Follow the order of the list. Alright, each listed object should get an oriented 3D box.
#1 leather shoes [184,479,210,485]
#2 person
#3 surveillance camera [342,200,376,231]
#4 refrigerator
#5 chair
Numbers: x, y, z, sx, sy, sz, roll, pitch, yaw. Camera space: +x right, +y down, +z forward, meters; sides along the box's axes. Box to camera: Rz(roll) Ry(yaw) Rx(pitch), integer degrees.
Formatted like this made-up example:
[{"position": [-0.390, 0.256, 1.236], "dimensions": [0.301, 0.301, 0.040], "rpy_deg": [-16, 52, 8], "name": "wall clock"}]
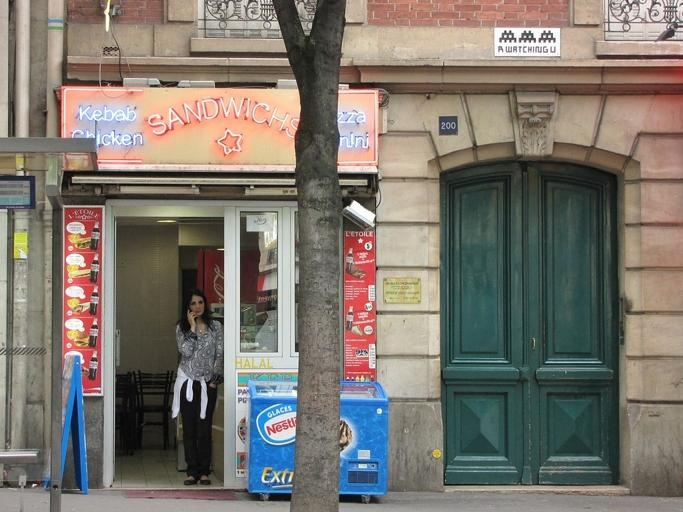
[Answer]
[{"position": [-1.869, 2.861, 15.733], "dimensions": [0.326, 0.095, 0.120], "rpy_deg": [8, -14, -7], "name": "leather shoes"}, {"position": [-1.833, 1.659, 15.797], "dimensions": [0.599, 2.455, 0.291], "rpy_deg": [-1, -7, -9], "name": "person"}, {"position": [0.207, -0.538, 15.713], "dimensions": [0.417, 0.358, 0.410], "rpy_deg": [-2, -7, 2], "name": "surveillance camera"}, {"position": [-0.298, 2.310, 15.570], "dimensions": [2.059, 2.070, 1.242], "rpy_deg": [0, -8, -3], "name": "refrigerator"}, {"position": [-3.006, 2.230, 18.145], "dimensions": [1.149, 1.521, 0.947], "rpy_deg": [1, 1, -12], "name": "chair"}]
